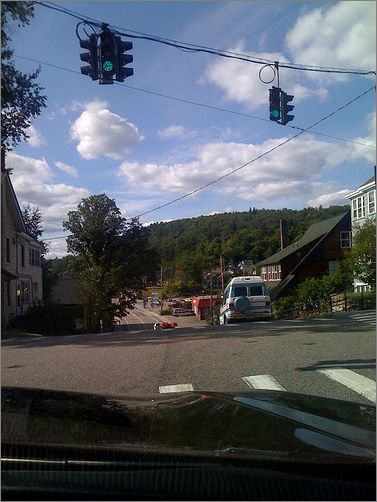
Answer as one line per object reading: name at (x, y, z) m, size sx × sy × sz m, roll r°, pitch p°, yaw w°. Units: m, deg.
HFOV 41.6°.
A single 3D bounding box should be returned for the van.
van at (2.181, 1.872, 18.998) m, size 1.648 × 1.804 × 1.973 m, roll -3°, pitch -5°, yaw -13°
